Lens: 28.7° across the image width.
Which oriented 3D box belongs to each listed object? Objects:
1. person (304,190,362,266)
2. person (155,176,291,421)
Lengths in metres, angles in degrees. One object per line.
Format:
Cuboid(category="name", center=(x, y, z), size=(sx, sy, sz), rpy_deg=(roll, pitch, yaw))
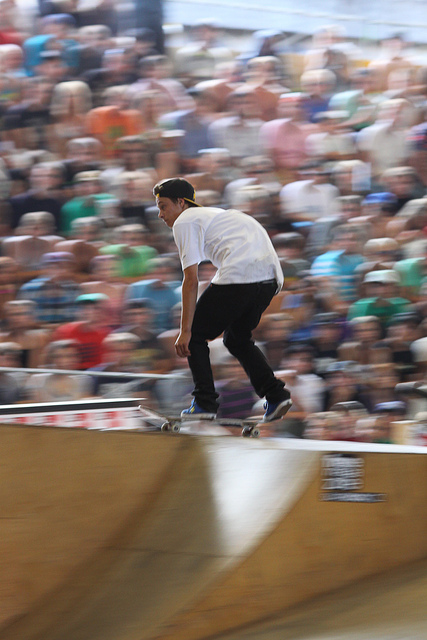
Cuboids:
Cuboid(category="person", center=(0.772, -0.577, 5.928), size=(0.317, 0.783, 0.120), rpy_deg=(-16, 71, 9))
Cuboid(category="person", center=(0.050, -0.059, 2.981), size=(0.424, 0.753, 0.690), rpy_deg=(-5, 36, -3))
